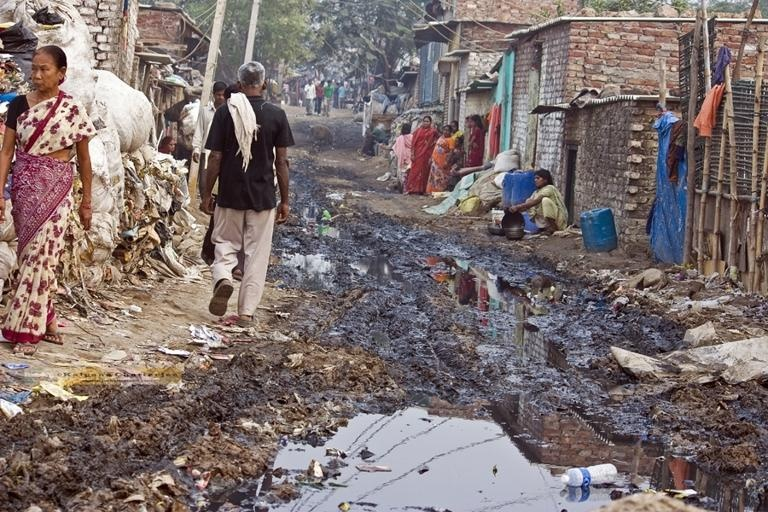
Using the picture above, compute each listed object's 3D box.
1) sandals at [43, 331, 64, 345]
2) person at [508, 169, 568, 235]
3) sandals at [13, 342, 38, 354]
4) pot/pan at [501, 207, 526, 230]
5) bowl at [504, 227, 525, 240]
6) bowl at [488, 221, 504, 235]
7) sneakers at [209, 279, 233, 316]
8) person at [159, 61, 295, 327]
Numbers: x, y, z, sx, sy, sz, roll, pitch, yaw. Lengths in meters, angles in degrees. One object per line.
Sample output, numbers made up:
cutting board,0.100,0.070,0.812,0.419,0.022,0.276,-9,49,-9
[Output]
sandals,-2.706,0.667,6.251,0.146,0.049,0.082,6,13,18
person,3.055,-1.037,14.588,0.897,1.173,1.039,6,7,16
sandals,-2.812,0.719,5.969,0.154,0.081,0.089,2,7,-17
pot/pan,2.402,-0.679,14.269,0.342,0.389,0.306,-2,-10,7
bowl,2.424,-0.414,14.258,0.260,0.137,0.255,-1,1,0
bowl,2.139,-0.522,14.660,0.254,0.098,0.228,-5,10,21
sneakers,-1.542,0.389,7.290,0.188,0.387,0.172,13,23,-10
person,-1.331,-0.585,7.394,0.821,2.535,0.654,3,7,-12
